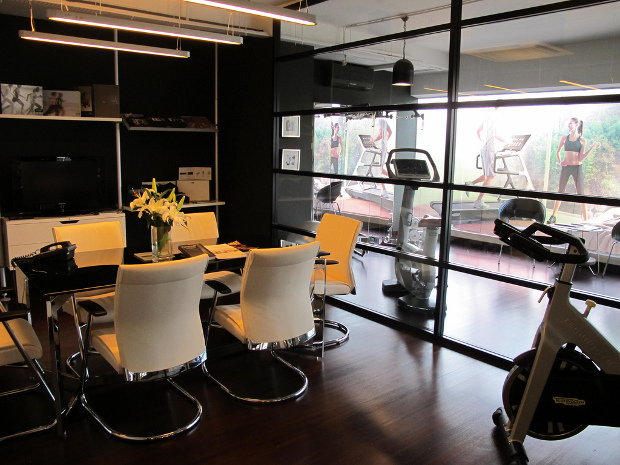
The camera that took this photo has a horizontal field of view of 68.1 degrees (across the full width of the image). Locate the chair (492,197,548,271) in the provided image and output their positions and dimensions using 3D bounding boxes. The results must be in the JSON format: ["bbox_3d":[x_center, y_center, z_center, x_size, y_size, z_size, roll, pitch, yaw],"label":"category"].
[{"bbox_3d":[1.732,-0.010,3.739,0.332,0.630,0.355,-1,10,-29],"label":"chair"}]

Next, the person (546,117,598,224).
[{"bbox_3d":[2.158,-0.490,3.763,0.350,0.866,0.253,3,18,35],"label":"person"}]

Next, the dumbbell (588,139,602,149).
[{"bbox_3d":[2.265,-0.701,3.633,0.034,0.046,0.112,10,27,32],"label":"dumbbell"}]

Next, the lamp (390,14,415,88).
[{"bbox_3d":[0.970,-1.747,4.717,0.075,0.487,0.251,-9,16,-37],"label":"lamp"}]

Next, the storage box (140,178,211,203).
[{"bbox_3d":[-1.830,-0.638,6.768,1.210,0.481,0.497,0,11,-25],"label":"storage box"}]

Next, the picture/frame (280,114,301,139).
[{"bbox_3d":[-0.245,-1.389,5.963,0.033,0.328,0.315,-5,11,-43],"label":"picture/frame"}]

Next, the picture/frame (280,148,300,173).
[{"bbox_3d":[-0.262,-0.941,6.006,0.077,0.283,0.286,-6,9,-44],"label":"picture/frame"}]

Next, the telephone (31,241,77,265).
[{"bbox_3d":[-2.119,0.179,3.780,0.313,0.130,0.184,1,11,4],"label":"telephone"}]
